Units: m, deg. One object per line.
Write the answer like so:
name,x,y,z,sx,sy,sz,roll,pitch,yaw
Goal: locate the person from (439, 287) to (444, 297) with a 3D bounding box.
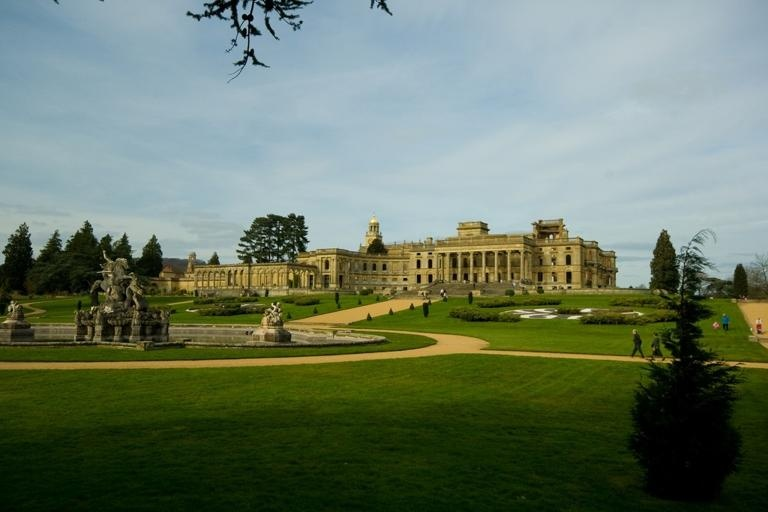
person,8.211,5.164,83.895,0.992,1.045,1.216,2,8,4
